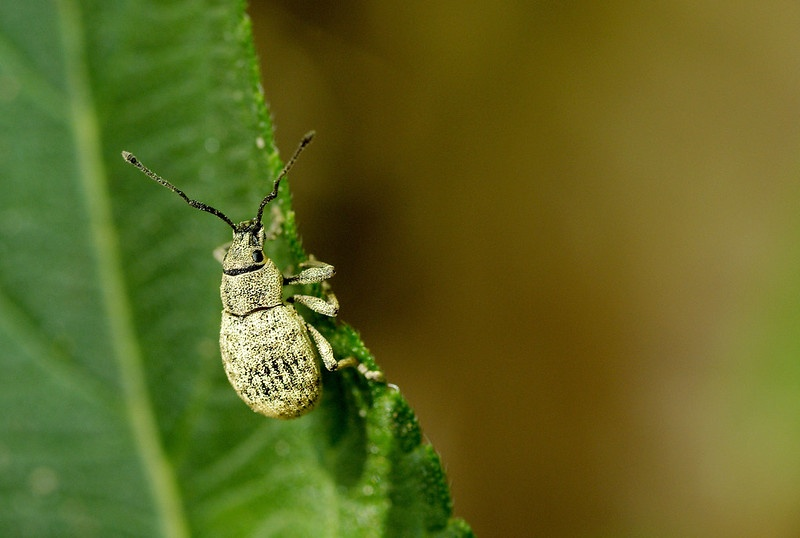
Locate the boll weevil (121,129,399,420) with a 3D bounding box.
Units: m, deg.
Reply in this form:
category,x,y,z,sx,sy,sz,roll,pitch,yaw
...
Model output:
category,x,y,z,sx,sy,sz,roll,pitch,yaw
boll weevil,-0.509,0.228,3.538,0.945,1.212,1.103,3,-33,-9
